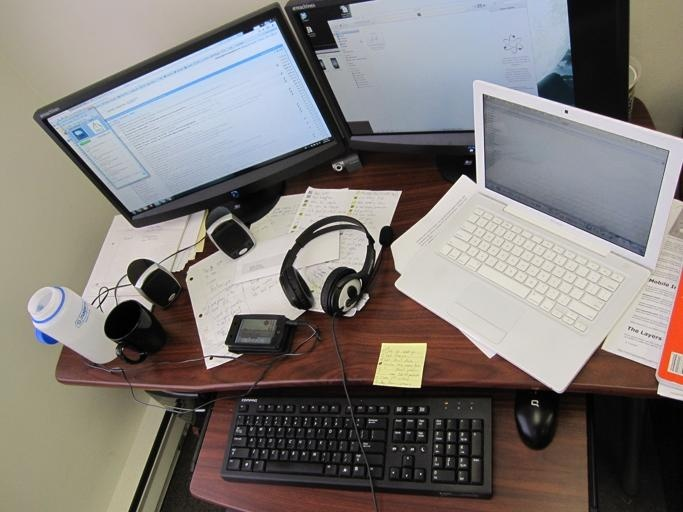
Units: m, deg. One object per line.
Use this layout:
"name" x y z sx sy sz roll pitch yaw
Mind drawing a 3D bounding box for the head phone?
"head phone" -0.013 0.006 1.203 0.231 0.092 0.258 9 72 35

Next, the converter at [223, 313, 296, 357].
"converter" -0.204 0.190 1.205 0.156 0.040 0.091 -2 59 15

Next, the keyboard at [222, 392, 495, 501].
"keyboard" 0.017 0.416 1.109 0.620 0.067 0.184 -4 50 16

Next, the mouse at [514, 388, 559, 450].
"mouse" 0.396 0.332 1.010 0.070 0.047 0.126 2 72 21

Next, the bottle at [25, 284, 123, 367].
"bottle" -0.680 0.208 1.347 0.142 0.291 0.089 -3 49 21

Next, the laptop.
"laptop" 0.351 -0.066 1.015 0.395 0.391 0.474 -44 51 -18

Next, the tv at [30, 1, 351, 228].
"tv" -0.407 -0.328 1.328 0.798 0.518 0.277 -18 43 -23

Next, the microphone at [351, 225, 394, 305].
"microphone" 0.078 0.031 1.220 0.130 0.131 0.124 -8 47 -19

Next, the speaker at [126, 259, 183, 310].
"speaker" -0.542 0.069 1.398 0.177 0.089 0.108 24 63 35

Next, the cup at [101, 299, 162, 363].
"cup" -0.529 0.170 1.313 0.115 0.133 0.180 -20 40 26
